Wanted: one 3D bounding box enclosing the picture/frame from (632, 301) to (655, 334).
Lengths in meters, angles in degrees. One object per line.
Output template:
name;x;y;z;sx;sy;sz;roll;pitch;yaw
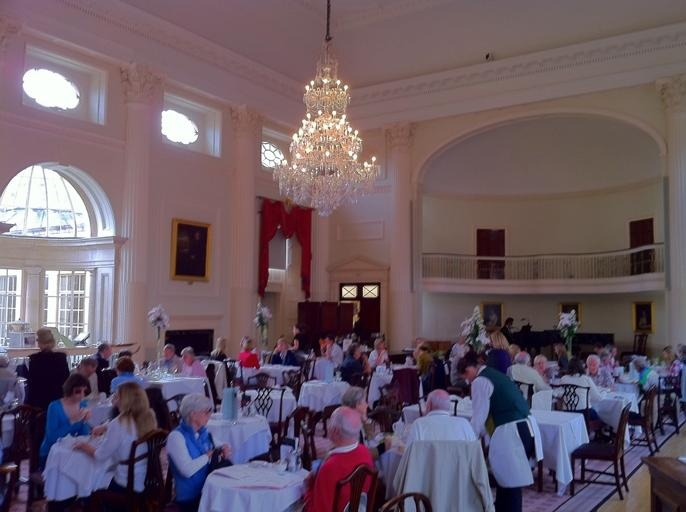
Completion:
picture/frame;9.634;1.970;16.765;0.065;1.095;0.873;6;-9;-15

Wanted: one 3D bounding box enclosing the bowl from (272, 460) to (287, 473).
bowl;-0.613;1.998;5.062;0.106;0.085;0.272;4;-7;-28

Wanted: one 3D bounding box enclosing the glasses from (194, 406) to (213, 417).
glasses;-1.327;1.477;5.017;0.099;0.072;0.085;0;-2;-3

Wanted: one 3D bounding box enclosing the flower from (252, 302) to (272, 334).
flower;-2.225;1.775;15.225;0.698;0.954;0.684;0;-1;-38

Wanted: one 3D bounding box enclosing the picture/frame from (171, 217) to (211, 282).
picture/frame;-4.153;-0.147;14.243;0.151;1.847;1.451;-2;-5;29
